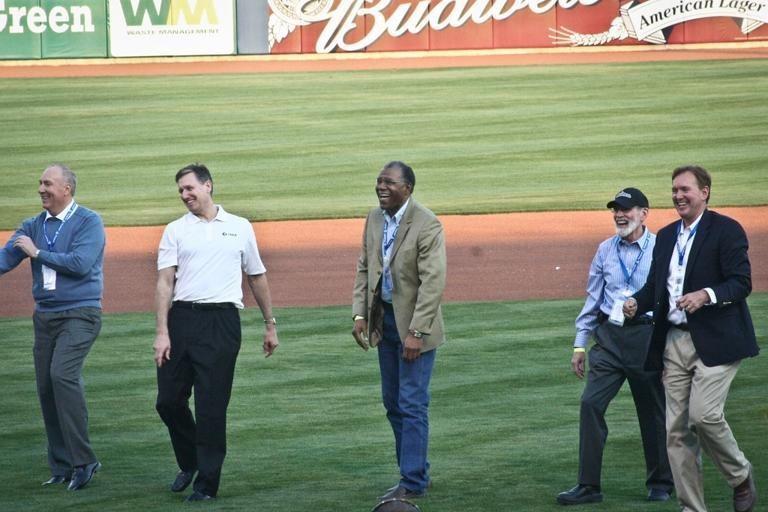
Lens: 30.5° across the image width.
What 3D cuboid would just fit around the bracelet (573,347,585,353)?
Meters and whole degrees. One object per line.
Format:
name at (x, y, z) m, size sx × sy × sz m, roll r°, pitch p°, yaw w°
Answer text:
bracelet at (2.013, 0.996, 14.589) m, size 0.154 × 0.051 × 0.156 m, roll 0°, pitch -3°, yaw -9°

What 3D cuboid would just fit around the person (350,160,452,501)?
person at (0.188, 0.752, 14.425) m, size 0.878 × 3.385 × 0.945 m, roll -8°, pitch 11°, yaw -25°

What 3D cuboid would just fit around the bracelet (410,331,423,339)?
bracelet at (0.325, 0.825, 14.191) m, size 0.106 × 0.036 × 0.078 m, roll 3°, pitch -10°, yaw 41°

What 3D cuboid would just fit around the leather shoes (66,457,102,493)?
leather shoes at (-3.147, 2.329, 14.629) m, size 0.167 × 0.429 × 0.202 m, roll 17°, pitch -22°, yaw 43°

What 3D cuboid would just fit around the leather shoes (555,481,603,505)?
leather shoes at (1.967, 2.448, 14.261) m, size 0.527 × 0.201 × 0.179 m, roll 2°, pitch -1°, yaw -5°

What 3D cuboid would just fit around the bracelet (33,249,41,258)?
bracelet at (-3.624, -0.006, 14.628) m, size 0.057 × 0.084 × 0.103 m, roll -12°, pitch 13°, yaw -43°

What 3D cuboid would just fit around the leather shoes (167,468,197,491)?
leather shoes at (-2.067, 2.343, 14.558) m, size 0.124 × 0.335 × 0.142 m, roll 45°, pitch -3°, yaw 10°

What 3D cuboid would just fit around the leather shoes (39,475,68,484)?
leather shoes at (-3.434, 2.368, 14.664) m, size 0.255 × 0.085 × 0.159 m, roll 0°, pitch 9°, yaw 18°

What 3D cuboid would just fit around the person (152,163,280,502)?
person at (-1.820, 0.771, 14.479) m, size 1.142 × 3.365 × 0.712 m, roll -12°, pitch 13°, yaw -41°

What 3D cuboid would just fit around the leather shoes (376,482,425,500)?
leather shoes at (0.171, 2.418, 14.253) m, size 0.391 × 0.120 × 0.185 m, roll 2°, pitch -4°, yaw -3°

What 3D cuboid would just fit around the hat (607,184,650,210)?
hat at (2.511, -0.576, 14.466) m, size 0.372 × 0.179 × 0.237 m, roll 9°, pitch -5°, yaw -15°
